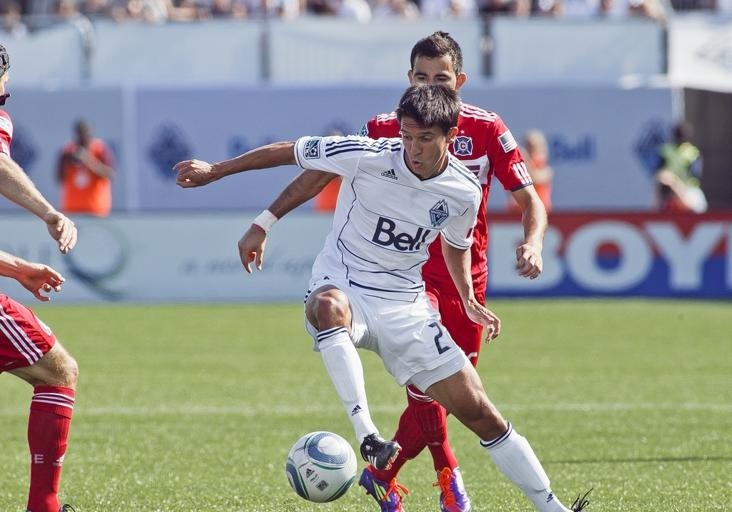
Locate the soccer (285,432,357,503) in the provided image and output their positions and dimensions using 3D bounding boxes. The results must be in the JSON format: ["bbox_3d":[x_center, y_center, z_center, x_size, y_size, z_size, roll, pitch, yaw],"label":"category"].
[{"bbox_3d":[-0.396,1.795,10.688,0.553,0.586,0.565,6,7,-28],"label":"soccer"}]

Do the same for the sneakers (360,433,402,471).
[{"bbox_3d":[0.100,1.619,10.123,0.183,0.218,0.369,19,3,-35],"label":"sneakers"}]

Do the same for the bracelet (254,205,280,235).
[{"bbox_3d":[-0.868,-0.305,10.666,0.165,0.180,0.212,-22,-12,-10],"label":"bracelet"}]
